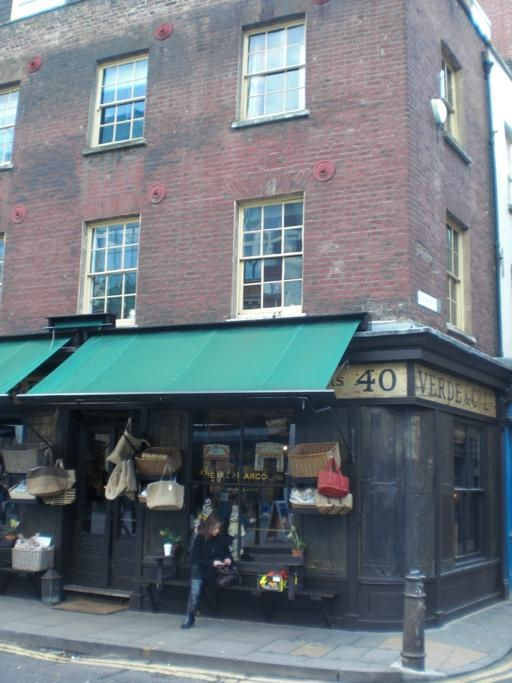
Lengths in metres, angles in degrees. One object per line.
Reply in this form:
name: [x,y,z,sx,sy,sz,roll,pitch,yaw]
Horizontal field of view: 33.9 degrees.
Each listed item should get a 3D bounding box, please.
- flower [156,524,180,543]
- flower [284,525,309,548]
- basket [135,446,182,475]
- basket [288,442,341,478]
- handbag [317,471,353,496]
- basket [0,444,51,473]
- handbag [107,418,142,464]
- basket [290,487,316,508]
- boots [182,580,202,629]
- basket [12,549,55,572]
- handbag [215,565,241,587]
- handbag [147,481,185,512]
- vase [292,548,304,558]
flower: [-1.230,2.812,12.184,0.338,0.199,0.120,-5,-7,43]
flower: [0.544,2.645,11.384,0.141,0.284,0.363,4,-6,-35]
basket: [-1.411,1.760,12.165,0.676,0.418,0.378,0,-5,1]
basket: [0.781,1.546,11.072,0.535,0.325,0.536,-2,3,29]
handbag: [0.992,1.808,10.636,0.330,0.314,0.116,21,-26,-39]
basket: [-3.644,1.864,13.388,0.663,0.291,0.481,0,-4,8]
handbag: [-1.803,1.539,12.557,0.508,0.577,0.406,17,-20,1]
basket: [0.628,2.068,11.076,0.413,0.270,0.126,-5,-7,42]
boots: [-0.819,3.386,10.917,0.230,0.622,0.417,0,-5,5]
basket: [-3.370,3.313,12.772,0.435,0.265,0.434,-2,-12,10]
handbag: [-0.372,3.112,11.154,0.151,0.317,0.332,-19,-17,40]
handbag: [-1.252,2.169,11.794,0.419,0.404,0.227,4,-32,-1]
vase: [0.569,2.816,11.218,0.120,0.057,0.120,0,-7,18]
